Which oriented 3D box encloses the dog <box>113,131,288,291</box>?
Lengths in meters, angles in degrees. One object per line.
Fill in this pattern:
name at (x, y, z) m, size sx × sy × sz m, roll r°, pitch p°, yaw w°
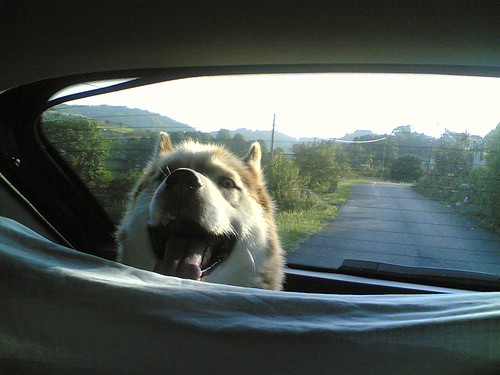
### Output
dog at (-0.239, 0.117, 2.752) m, size 0.966 × 1.089 × 0.937 m, roll 2°, pitch 10°, yaw 11°
